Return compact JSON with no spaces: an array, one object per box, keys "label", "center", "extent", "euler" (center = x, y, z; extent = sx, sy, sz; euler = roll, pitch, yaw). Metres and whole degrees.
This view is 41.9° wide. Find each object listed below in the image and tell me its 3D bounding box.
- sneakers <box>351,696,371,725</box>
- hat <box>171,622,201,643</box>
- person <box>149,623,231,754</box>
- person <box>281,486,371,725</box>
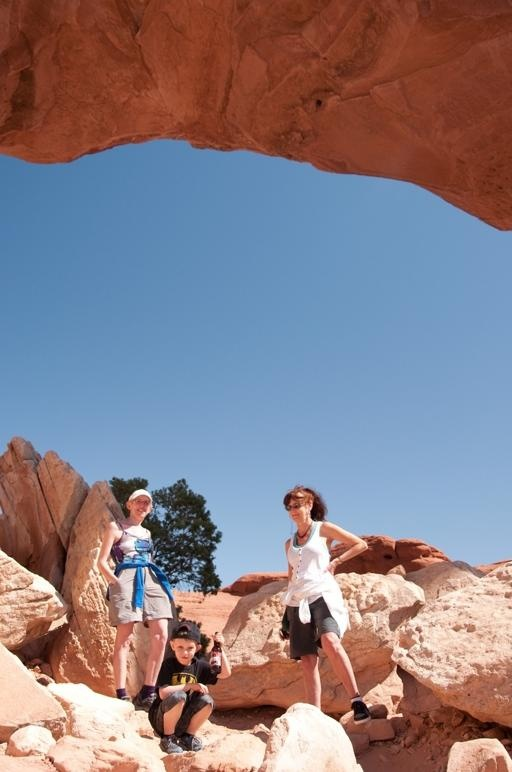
[{"label":"sneakers","center":[0.705,2.190,4.555],"extent":[0.095,0.171,0.137],"euler":[0,-13,1]},{"label":"hat","center":[-0.470,1.650,4.564],"extent":[0.139,0.114,0.200],"euler":[3,-8,-5]},{"label":"person","center":[-0.428,1.985,4.464],"extent":[0.519,0.798,0.540],"euler":[3,-14,-12]},{"label":"person","center":[0.458,1.521,4.889],"extent":[0.475,1.583,0.722],"euler":[11,-17,-39]}]
